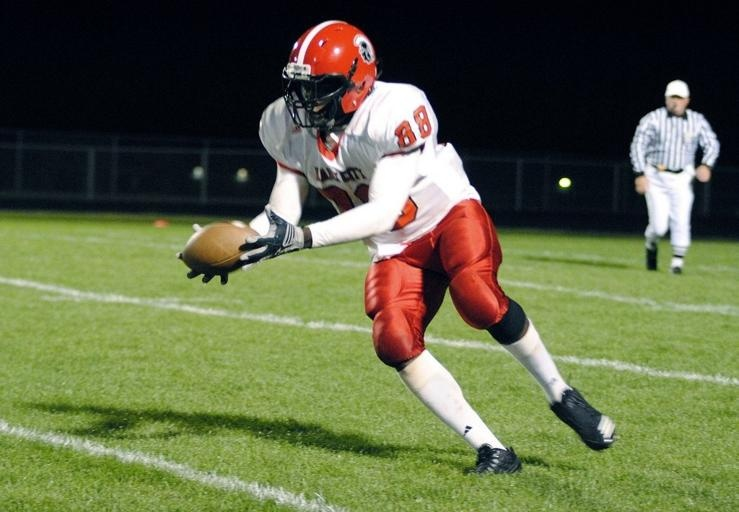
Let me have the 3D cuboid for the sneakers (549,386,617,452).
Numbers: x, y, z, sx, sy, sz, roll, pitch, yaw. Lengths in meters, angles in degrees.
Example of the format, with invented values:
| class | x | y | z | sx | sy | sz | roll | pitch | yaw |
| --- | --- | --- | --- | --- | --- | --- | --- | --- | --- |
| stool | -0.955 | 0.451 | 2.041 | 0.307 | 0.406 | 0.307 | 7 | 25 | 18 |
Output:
| class | x | y | z | sx | sy | sz | roll | pitch | yaw |
| --- | --- | --- | --- | --- | --- | --- | --- | --- | --- |
| sneakers | 0.953 | 0.733 | 3.894 | 0.200 | 0.321 | 0.127 | -46 | -3 | -15 |

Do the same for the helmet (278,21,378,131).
| class | x | y | z | sx | sy | sz | roll | pitch | yaw |
| --- | --- | --- | --- | --- | --- | --- | --- | --- | --- |
| helmet | -0.170 | -0.877 | 3.982 | 0.365 | 0.421 | 0.527 | 12 | 33 | 36 |

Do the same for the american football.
| class | x | y | z | sx | sy | sz | roll | pitch | yaw |
| --- | --- | --- | --- | --- | --- | --- | --- | --- | --- |
| american football | -0.641 | -0.037 | 3.715 | 0.270 | 0.164 | 0.213 | -17 | -4 | -3 |

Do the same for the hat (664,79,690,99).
| class | x | y | z | sx | sy | sz | roll | pitch | yaw |
| --- | --- | --- | --- | --- | --- | --- | --- | --- | --- |
| hat | 2.643 | -1.431 | 7.370 | 0.164 | 0.138 | 0.284 | 8 | 16 | 25 |

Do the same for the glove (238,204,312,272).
| class | x | y | z | sx | sy | sz | roll | pitch | yaw |
| --- | --- | --- | --- | --- | --- | --- | --- | --- | --- |
| glove | -0.343 | -0.076 | 3.621 | 0.352 | 0.132 | 0.294 | -9 | 21 | 22 |

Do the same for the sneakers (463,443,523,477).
| class | x | y | z | sx | sy | sz | roll | pitch | yaw |
| --- | --- | --- | --- | --- | --- | --- | --- | --- | --- |
| sneakers | 0.536 | 0.878 | 3.694 | 0.179 | 0.093 | 0.125 | -2 | -1 | -14 |
